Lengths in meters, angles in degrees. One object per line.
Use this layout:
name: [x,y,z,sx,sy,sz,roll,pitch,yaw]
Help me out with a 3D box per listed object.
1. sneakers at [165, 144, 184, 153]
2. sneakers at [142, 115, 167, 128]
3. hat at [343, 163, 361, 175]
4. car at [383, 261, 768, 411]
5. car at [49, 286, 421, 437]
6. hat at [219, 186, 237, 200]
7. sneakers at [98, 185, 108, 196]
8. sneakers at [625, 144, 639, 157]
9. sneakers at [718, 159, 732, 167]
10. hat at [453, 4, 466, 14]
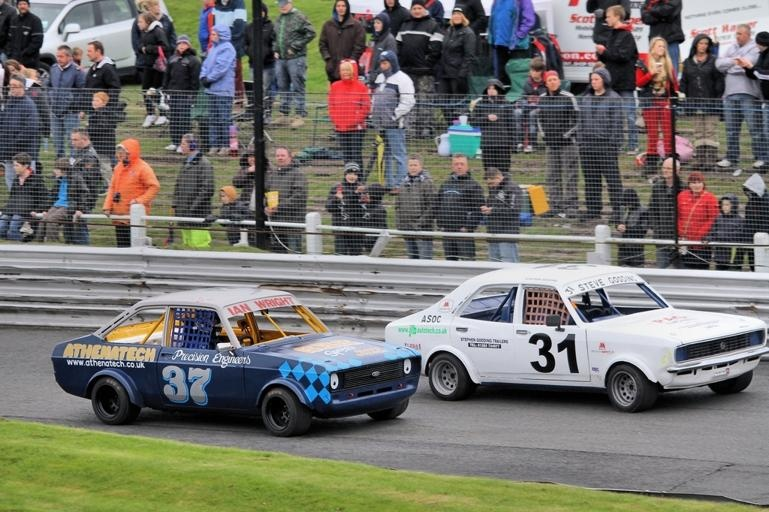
sneakers: [-3.284,-1.669,20.340,0.328,0.130,0.117,5,9,31]
sneakers: [-3.583,-2.110,20.330,0.440,0.172,0.157,-4,9,21]
hat: [-0.473,-1.295,19.317,0.213,0.107,0.174,1,-9,30]
car: [2.630,1.063,17.417,4.028,1.294,2.118,-1,2,32]
car: [-2.034,1.389,17.040,4.036,1.307,2.141,0,2,26]
hat: [-2.426,-0.985,20.299,0.262,0.190,0.188,7,10,-10]
sneakers: [-4.518,-1.036,20.947,0.222,0.192,0.113,1,-2,-3]
sneakers: [3.515,-1.494,18.417,0.166,0.127,0.044,0,0,12]
sneakers: [4.758,-1.301,18.198,0.193,0.114,0.087,0,0,13]
hat: [1.364,-4.443,23.411,0.288,0.185,0.388,4,7,10]
